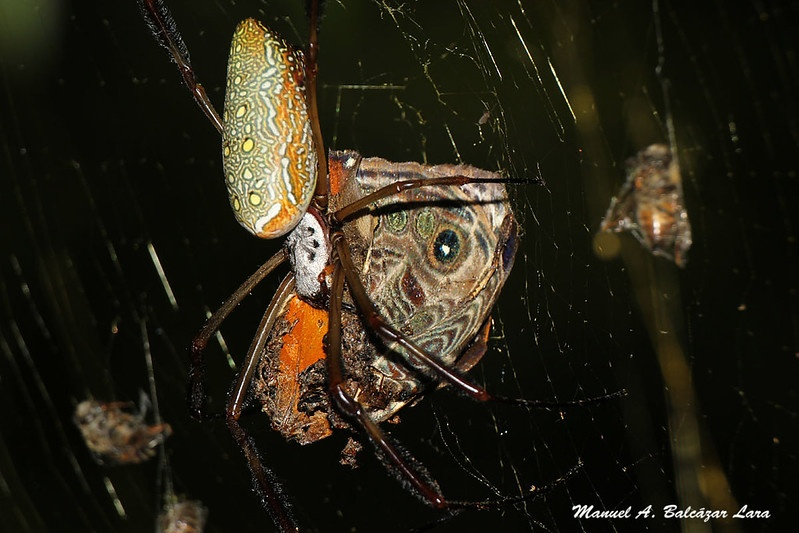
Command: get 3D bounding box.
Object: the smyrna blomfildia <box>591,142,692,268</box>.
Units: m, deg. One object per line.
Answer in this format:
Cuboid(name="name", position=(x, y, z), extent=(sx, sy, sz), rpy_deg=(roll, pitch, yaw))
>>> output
Cuboid(name="smyrna blomfildia", position=(0.637, -0.117, 2.143), extent=(0.207, 0.319, 0.074), rpy_deg=(-20, -18, 14))
